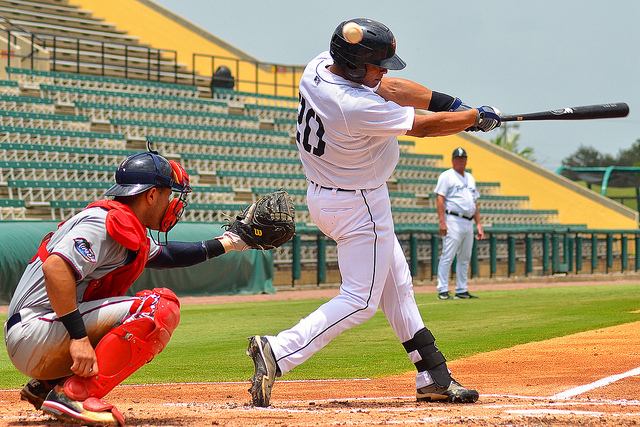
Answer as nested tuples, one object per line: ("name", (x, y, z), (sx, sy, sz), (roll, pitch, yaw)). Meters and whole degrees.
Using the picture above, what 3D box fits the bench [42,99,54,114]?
("bench", (-5.858, -2.309, 22.231), (0.244, 0.238, 0.169), (9, 12, 44))

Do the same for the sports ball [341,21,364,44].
("sports ball", (0.360, -2.206, 12.732), (0.277, 0.264, 0.205), (11, 14, -19))

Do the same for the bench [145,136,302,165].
("bench", (-2.248, -1.449, 24.036), (3.837, 0.443, 0.647), (2, -22, 23))

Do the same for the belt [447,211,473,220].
("belt", (2.461, 0.044, 18.109), (0.404, 0.102, 0.090), (3, -2, -1))

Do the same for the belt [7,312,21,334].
("belt", (-3.634, 1.292, 12.243), (0.189, 0.141, 0.180), (-22, -31, -24))
